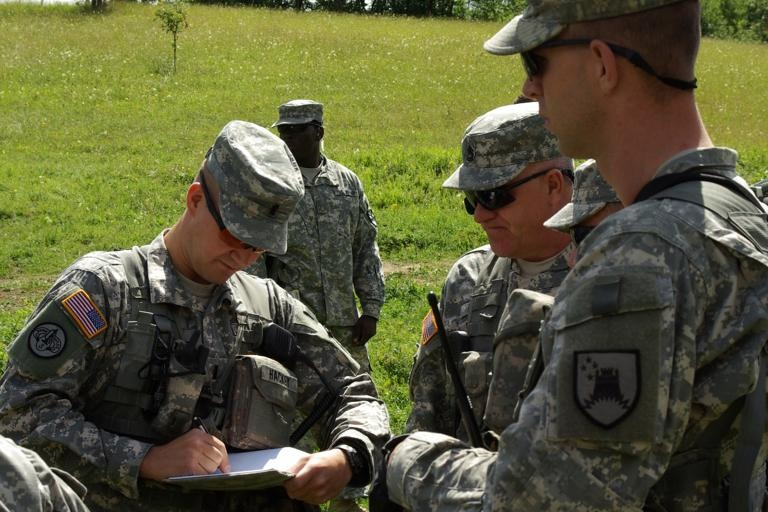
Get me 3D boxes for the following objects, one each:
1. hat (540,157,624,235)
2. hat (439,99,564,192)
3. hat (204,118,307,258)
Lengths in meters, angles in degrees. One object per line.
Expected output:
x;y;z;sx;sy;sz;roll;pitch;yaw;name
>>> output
1.015;-0.284;5.275;0.432;0.274;0.291;-10;2;-1;hat
0.672;-0.633;5.986;0.637;0.307;0.467;-13;1;-2;hat
-0.808;-0.374;5.813;0.249;0.777;0.516;-38;-23;33;hat
